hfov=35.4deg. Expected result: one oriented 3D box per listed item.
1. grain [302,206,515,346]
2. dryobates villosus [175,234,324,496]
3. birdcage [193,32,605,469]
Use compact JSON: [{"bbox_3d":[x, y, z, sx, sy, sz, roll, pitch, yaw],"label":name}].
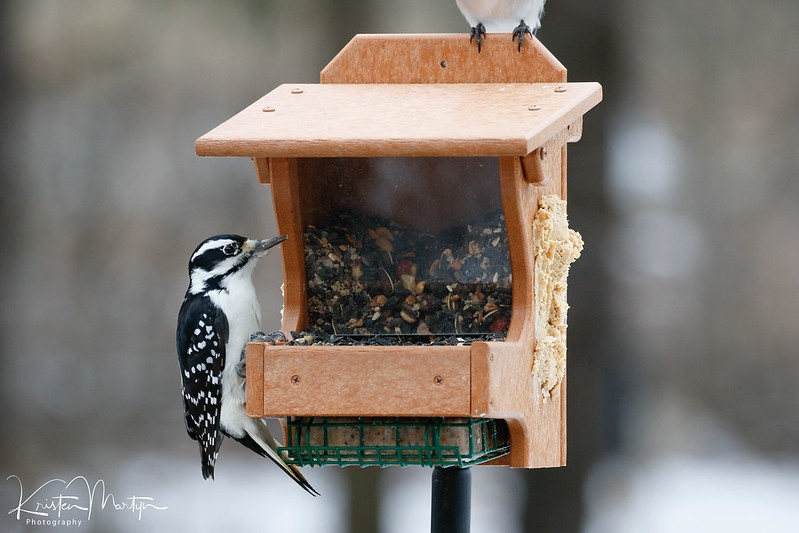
[{"bbox_3d":[0.069,0.073,7.293,1.243,0.858,0.697,-1,-3,17],"label":"grain"},{"bbox_3d":[-1.002,0.583,7.835,0.910,1.585,0.569,-6,2,37],"label":"dryobates villosus"},{"bbox_3d":[0.002,-0.067,7.125,1.928,2.538,1.425,3,3,26],"label":"birdcage"}]
